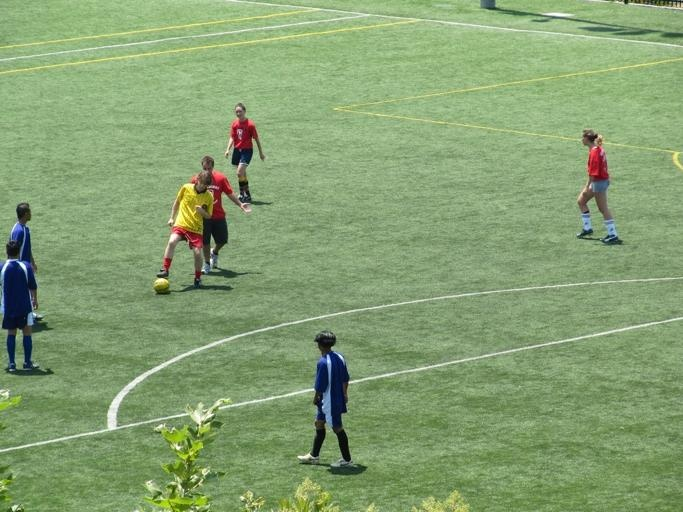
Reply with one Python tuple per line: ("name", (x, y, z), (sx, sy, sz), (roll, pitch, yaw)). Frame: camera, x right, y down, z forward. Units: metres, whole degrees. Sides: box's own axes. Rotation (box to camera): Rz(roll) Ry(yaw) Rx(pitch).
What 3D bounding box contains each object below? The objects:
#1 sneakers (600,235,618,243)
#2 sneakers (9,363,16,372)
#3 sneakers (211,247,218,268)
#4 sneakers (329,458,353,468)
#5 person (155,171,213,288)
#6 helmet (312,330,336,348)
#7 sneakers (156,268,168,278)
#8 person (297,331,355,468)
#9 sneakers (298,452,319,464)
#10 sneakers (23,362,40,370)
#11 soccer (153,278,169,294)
("sneakers", (6.305, -0.380, 39.695), (0.278, 0.099, 0.189), (0, 7, -1))
("sneakers", (-6.609, 2.155, 34.508), (0.146, 0.151, 0.155), (7, 23, -17))
("sneakers", (-2.865, 0.067, 39.092), (0.147, 0.359, 0.181), (-11, 5, -43))
("sneakers", (0.038, 3.719, 31.901), (0.456, 0.166, 0.142), (3, -6, -2))
("person", (-3.368, -0.593, 38.008), (0.986, 2.454, 0.752), (4, 17, -3))
("helmet", (-0.271, 1.479, 31.806), (0.323, 0.330, 0.416), (2, 15, -7))
("sneakers", (-3.955, 0.366, 38.155), (0.197, 0.134, 0.329), (-1, -8, -2))
("person", (-0.178, 2.544, 31.794), (1.021, 2.386, 0.637), (5, 17, 2))
("sneakers", (-0.578, 3.647, 32.021), (0.468, 0.177, 0.150), (4, 7, 5))
("sneakers", (-6.236, 2.141, 34.575), (0.135, 0.118, 0.306), (12, 14, 41))
("soccer", (-3.939, 0.630, 37.746), (0.389, 0.297, 0.336), (-2, 4, -14))
